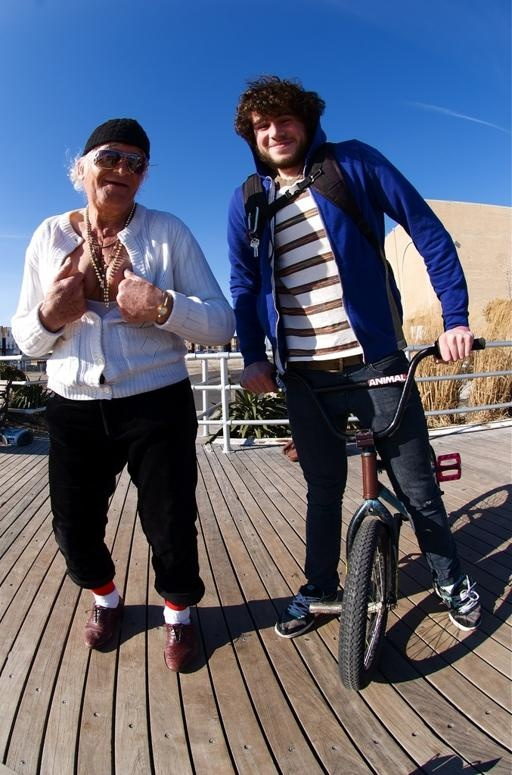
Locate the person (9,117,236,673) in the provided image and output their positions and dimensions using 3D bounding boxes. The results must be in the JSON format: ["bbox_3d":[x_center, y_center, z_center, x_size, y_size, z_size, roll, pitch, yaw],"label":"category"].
[{"bbox_3d":[-0.430,0.051,1.726,0.675,1.769,0.579,1,7,10],"label":"person"}]

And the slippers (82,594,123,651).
[{"bbox_3d":[-0.574,0.886,1.984,0.078,0.076,0.187,-2,8,-5],"label":"slippers"}]

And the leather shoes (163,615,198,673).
[{"bbox_3d":[-0.265,0.882,1.859,0.112,0.091,0.231,-3,19,-11],"label":"leather shoes"}]

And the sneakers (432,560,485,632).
[{"bbox_3d":[0.727,0.782,1.984,0.095,0.117,0.266,-12,9,-3],"label":"sneakers"}]

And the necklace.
[{"bbox_3d":[-0.462,-0.376,1.612,0.112,0.366,0.014,0,-14,3],"label":"necklace"}]

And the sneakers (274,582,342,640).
[{"bbox_3d":[0.200,0.844,1.976,0.301,0.118,0.102,-27,48,-26],"label":"sneakers"}]
